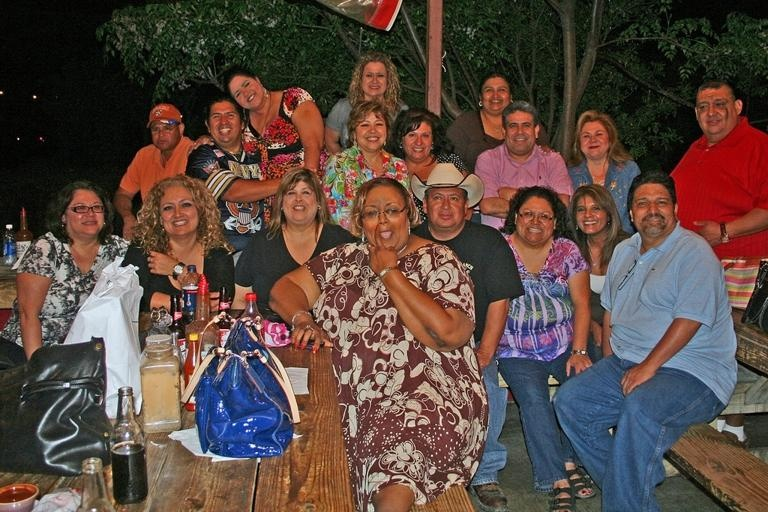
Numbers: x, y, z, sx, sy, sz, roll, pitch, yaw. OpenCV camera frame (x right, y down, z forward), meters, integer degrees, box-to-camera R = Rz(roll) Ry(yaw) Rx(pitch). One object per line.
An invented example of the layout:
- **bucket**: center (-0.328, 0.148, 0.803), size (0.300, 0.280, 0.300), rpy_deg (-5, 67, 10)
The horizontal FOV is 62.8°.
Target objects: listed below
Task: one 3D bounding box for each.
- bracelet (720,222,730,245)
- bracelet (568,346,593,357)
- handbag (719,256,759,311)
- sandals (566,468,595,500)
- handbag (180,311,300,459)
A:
- **bracelet**: center (3.011, -0.199, 5.595), size (0.096, 0.163, 0.166), rpy_deg (-9, 20, 14)
- **bracelet**: center (1.610, 0.772, 5.092), size (0.134, 0.085, 0.144), rpy_deg (9, 5, 35)
- **handbag**: center (2.987, 0.227, 5.262), size (0.130, 0.404, 0.413), rpy_deg (7, 6, -33)
- **sandals**: center (1.520, 1.748, 4.852), size (0.141, 0.105, 0.368), rpy_deg (-4, 19, 1)
- **handbag**: center (-0.645, 0.661, 3.437), size (0.608, 0.674, 0.675), rpy_deg (-5, 0, 4)
